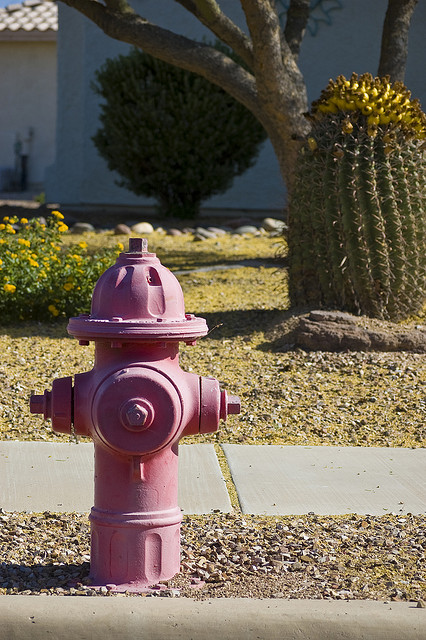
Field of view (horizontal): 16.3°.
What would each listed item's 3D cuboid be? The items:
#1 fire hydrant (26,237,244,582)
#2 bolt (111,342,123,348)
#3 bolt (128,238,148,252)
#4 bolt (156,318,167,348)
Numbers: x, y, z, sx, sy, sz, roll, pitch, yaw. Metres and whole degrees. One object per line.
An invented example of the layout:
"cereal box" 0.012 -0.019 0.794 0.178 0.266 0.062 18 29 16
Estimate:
"fire hydrant" -0.384 0.448 7.528 1.174 1.664 0.801 1 2 1
"bolt" -0.483 0.121 7.308 0.057 0.031 0.055 -1 6 -7
"bolt" -0.386 -0.377 7.423 0.068 0.067 0.094 2 3 42
"bolt" -0.264 0.063 7.337 0.051 0.151 0.077 -1 7 -5
